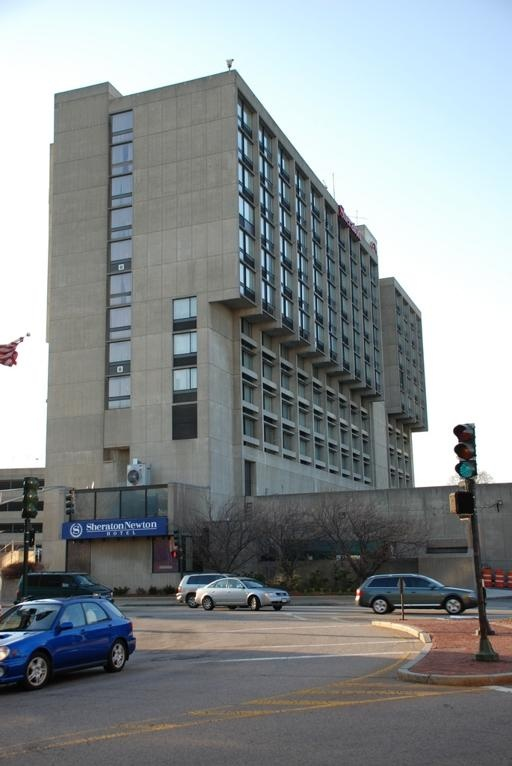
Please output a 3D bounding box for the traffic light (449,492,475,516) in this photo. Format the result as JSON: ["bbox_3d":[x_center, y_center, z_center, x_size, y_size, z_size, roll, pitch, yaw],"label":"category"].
[{"bbox_3d":[3.704,2.165,12.763,0.377,0.477,0.521,-4,-10,8],"label":"traffic light"}]

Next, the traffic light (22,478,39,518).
[{"bbox_3d":[-6.860,3.533,21.869,0.359,1.289,2.753,1,-11,-16],"label":"traffic light"}]

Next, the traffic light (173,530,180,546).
[{"bbox_3d":[-5.488,10.820,50.119,0.381,0.973,0.817,1,-11,-18],"label":"traffic light"}]

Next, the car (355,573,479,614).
[{"bbox_3d":[6.156,8.264,28.061,4.363,1.510,1.181,-6,-11,19],"label":"car"}]

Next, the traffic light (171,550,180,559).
[{"bbox_3d":[-5.127,11.023,46.394,0.364,0.478,0.724,3,-12,-27],"label":"traffic light"}]

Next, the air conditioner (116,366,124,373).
[{"bbox_3d":[-11.132,-1.131,58.809,0.538,0.553,0.303,-2,-7,15],"label":"air conditioner"}]
